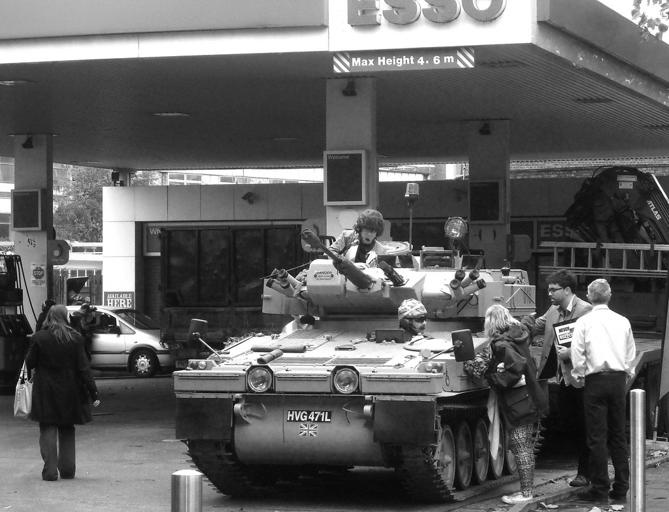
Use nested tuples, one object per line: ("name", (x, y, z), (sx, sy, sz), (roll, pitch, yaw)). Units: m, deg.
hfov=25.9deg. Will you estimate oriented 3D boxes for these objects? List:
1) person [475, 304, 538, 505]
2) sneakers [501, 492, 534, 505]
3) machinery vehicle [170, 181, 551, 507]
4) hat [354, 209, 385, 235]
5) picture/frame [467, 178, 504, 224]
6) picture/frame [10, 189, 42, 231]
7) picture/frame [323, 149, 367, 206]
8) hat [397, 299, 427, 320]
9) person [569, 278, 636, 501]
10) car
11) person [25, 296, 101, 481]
("person", (2.202, 1.886, 18.349), (0.772, 2.513, 0.808), (-2, -3, 23))
("sneakers", (2.262, 3.058, 18.082), (0.291, 0.133, 0.175), (1, -9, 8))
("machinery vehicle", (0.654, 1.521, 20.779), (3.534, 3.375, 5.928), (0, 0, 24))
("hat", (0.483, -0.485, 20.066), (0.271, 0.311, 0.381), (3, -16, 0))
("picture/frame", (3.134, -1.124, 29.959), (0.795, 0.835, 0.196), (4, -1, 24))
("picture/frame", (-6.597, -0.979, 31.188), (0.707, 0.906, 0.156), (-1, -1, 11))
("picture/frame", (0.168, -1.372, 24.458), (0.750, 1.020, 0.363), (-1, 24, -1))
("hat", (1.017, 0.755, 19.367), (0.301, 0.294, 0.247), (-27, 6, 6))
("person", (3.387, 1.713, 18.353), (0.800, 2.808, 0.426), (-1, -2, 0))
("car", (-4.944, 2.082, 33.558), (2.730, 1.549, 1.704), (-2, -1, -1))
("person", (-3.780, 1.904, 20.012), (0.921, 2.427, 0.400), (0, -2, -15))
